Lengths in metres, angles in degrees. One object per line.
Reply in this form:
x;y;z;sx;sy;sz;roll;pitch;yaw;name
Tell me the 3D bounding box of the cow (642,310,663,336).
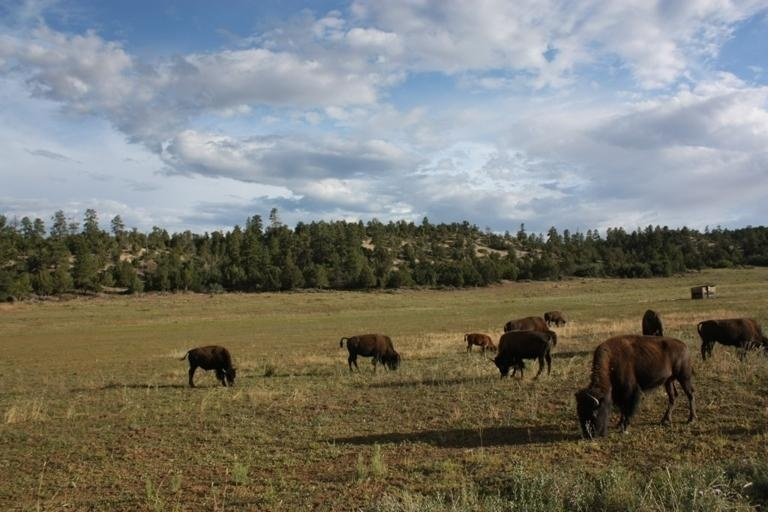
18.084;4.523;42.299;1.046;1.307;2.238;-3;-2;19;cow
